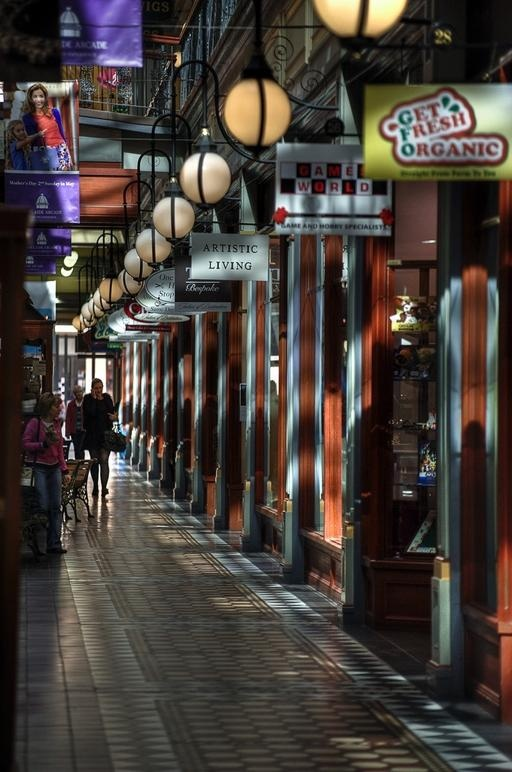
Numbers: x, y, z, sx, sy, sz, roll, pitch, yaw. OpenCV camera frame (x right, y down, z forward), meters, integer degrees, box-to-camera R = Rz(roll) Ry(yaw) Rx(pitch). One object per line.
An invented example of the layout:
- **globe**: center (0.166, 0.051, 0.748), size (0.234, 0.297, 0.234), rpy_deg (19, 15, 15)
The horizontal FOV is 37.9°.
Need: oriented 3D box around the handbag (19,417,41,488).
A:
- **handbag**: center (-3.177, 0.929, 10.456), size (0.185, 0.992, 0.793), rpy_deg (2, -5, -16)
